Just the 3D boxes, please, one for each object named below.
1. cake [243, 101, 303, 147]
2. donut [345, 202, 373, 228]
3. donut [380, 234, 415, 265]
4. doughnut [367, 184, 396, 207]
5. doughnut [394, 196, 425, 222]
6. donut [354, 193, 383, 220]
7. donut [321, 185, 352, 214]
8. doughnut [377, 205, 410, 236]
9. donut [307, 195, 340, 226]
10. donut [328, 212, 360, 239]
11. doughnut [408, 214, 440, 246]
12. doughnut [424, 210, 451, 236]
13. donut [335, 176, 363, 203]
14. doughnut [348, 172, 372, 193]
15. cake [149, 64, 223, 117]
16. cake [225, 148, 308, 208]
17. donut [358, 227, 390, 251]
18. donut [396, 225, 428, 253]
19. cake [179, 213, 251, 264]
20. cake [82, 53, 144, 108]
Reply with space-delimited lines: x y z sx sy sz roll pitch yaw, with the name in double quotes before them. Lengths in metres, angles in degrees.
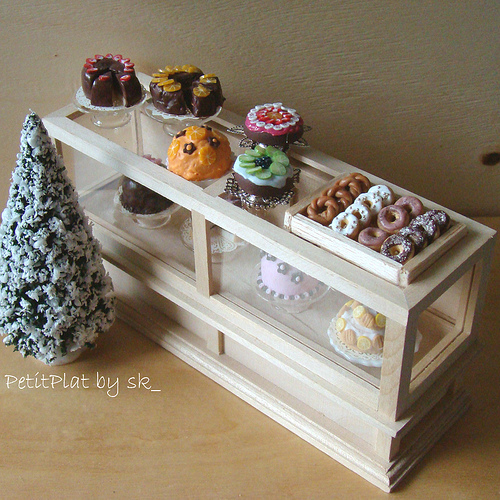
"cake" 0.058 -0.298 1.330 0.129 0.037 0.114 -22 56 -20
"donut" 0.220 -0.066 1.131 0.059 0.017 0.049 -17 46 -6
"donut" 0.268 -0.002 1.033 0.055 0.027 0.054 33 53 30
"doughnut" 0.273 -0.113 1.169 0.050 0.016 0.050 41 56 8
"doughnut" 0.320 -0.087 1.144 0.059 0.016 0.050 -19 46 -7
"donut" 0.248 -0.083 1.149 0.063 0.019 0.048 3 77 9
"donut" 0.181 -0.106 1.159 0.067 0.018 0.053 0 47 4
"doughnut" 0.269 -0.062 1.113 0.073 0.024 0.060 15 42 -18
"donut" 0.141 -0.076 1.130 0.071 0.021 0.053 2 69 9
"donut" 0.182 -0.046 1.092 0.046 0.033 0.056 -32 52 -28
"doughnut" 0.334 -0.034 1.081 0.065 0.018 0.049 -4 66 1
"doughnut" 0.362 -0.052 1.102 0.056 0.016 0.044 11 58 -6
"donut" 0.200 -0.125 1.195 0.065 0.019 0.051 -12 57 14
"doughnut" 0.237 -0.142 1.209 0.050 0.017 0.042 2 51 -44
"cake" -0.163 -0.404 1.475 0.160 0.082 0.178 -25 48 -23
"cake" 0.000 -0.145 1.262 0.172 0.052 0.183 6 16 -30
"donut" 0.227 -0.022 1.064 0.053 0.015 0.043 1 41 -2
"donut" 0.302 -0.024 1.054 0.058 0.016 0.047 7 52 7
"cake" -0.100 -0.020 1.372 0.159 0.046 0.138 17 35 6
"cake" -0.359 -0.442 1.503 0.151 0.089 0.161 -3 44 -2
